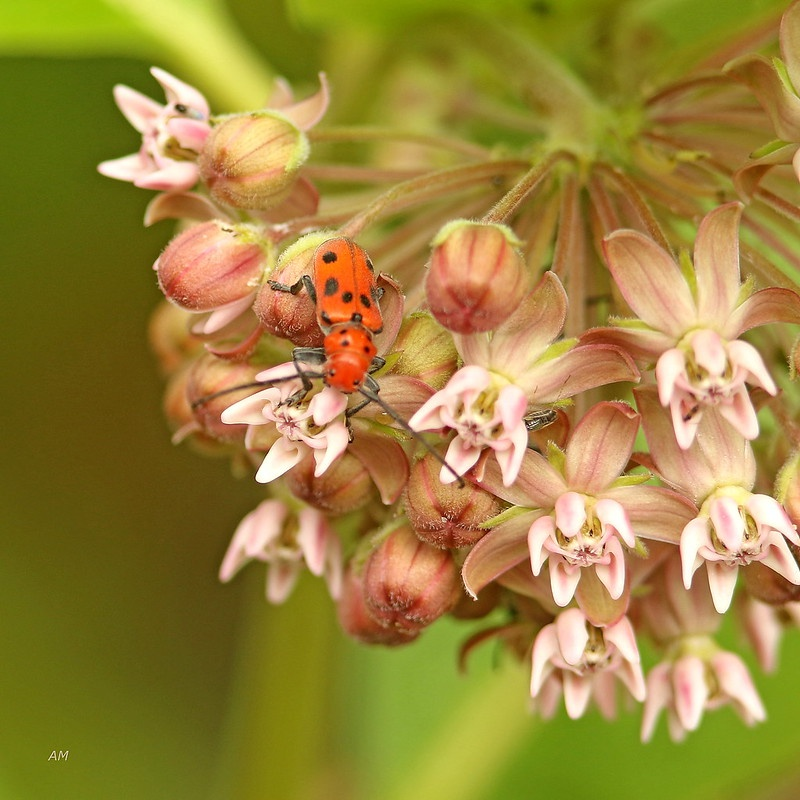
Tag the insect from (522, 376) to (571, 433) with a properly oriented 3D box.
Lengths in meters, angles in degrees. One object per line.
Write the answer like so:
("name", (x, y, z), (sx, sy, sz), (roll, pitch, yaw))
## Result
("insect", (0.236, 0.025, 1.601), (0.074, 0.020, 0.049), (-23, -67, -17))
